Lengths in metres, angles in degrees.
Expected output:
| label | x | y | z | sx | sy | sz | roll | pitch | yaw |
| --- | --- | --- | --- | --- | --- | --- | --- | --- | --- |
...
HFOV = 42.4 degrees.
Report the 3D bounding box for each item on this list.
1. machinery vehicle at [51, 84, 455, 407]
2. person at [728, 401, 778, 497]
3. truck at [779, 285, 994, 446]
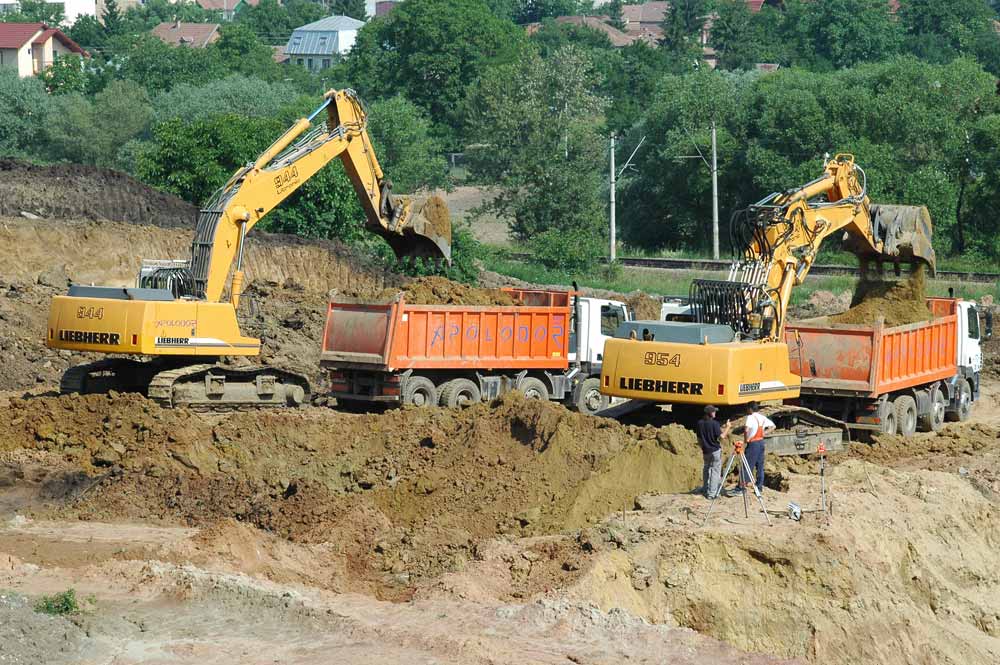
| label | x | y | z | sx | sy | sz | roll | pitch | yaw |
| --- | --- | --- | --- | --- | --- | --- | --- | --- | --- |
| machinery vehicle | -8.243 | -2.482 | 37.146 | 11.482 | 7.926 | 14.896 | 1 | 2 | -33 |
| person | 5.004 | 2.418 | 25.236 | 0.637 | 1.642 | 1.380 | 2 | 2 | 13 |
| truck | 9.385 | 0.772 | 32.078 | 2.797 | 2.836 | 5.652 | 6 | 13 | 42 |
